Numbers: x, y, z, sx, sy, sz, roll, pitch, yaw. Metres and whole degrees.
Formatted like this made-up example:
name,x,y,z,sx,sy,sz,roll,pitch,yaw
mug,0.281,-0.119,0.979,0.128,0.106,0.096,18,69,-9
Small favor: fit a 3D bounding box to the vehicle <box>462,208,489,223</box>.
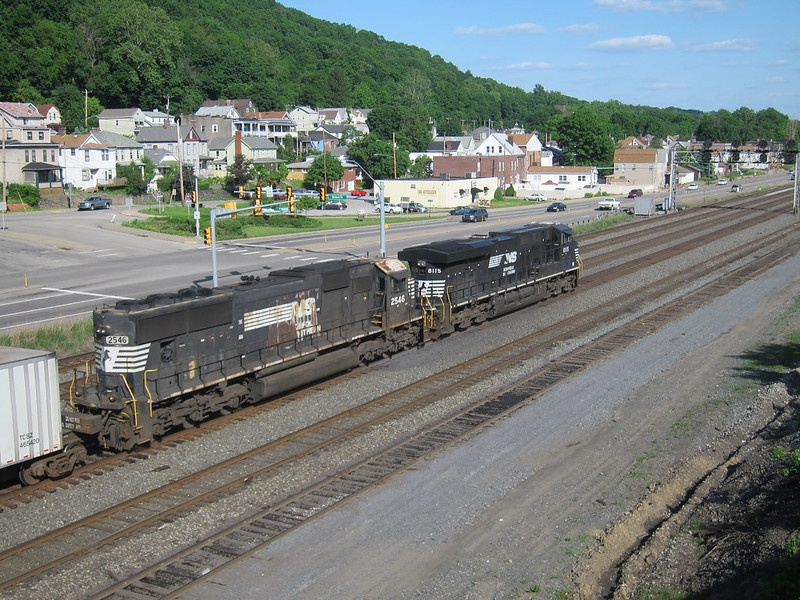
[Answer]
name,x,y,z,sx,sy,sz,roll,pitch,yaw
vehicle,8.151,-9.041,85.298,1.347,1.244,3.087,-1,3,31
